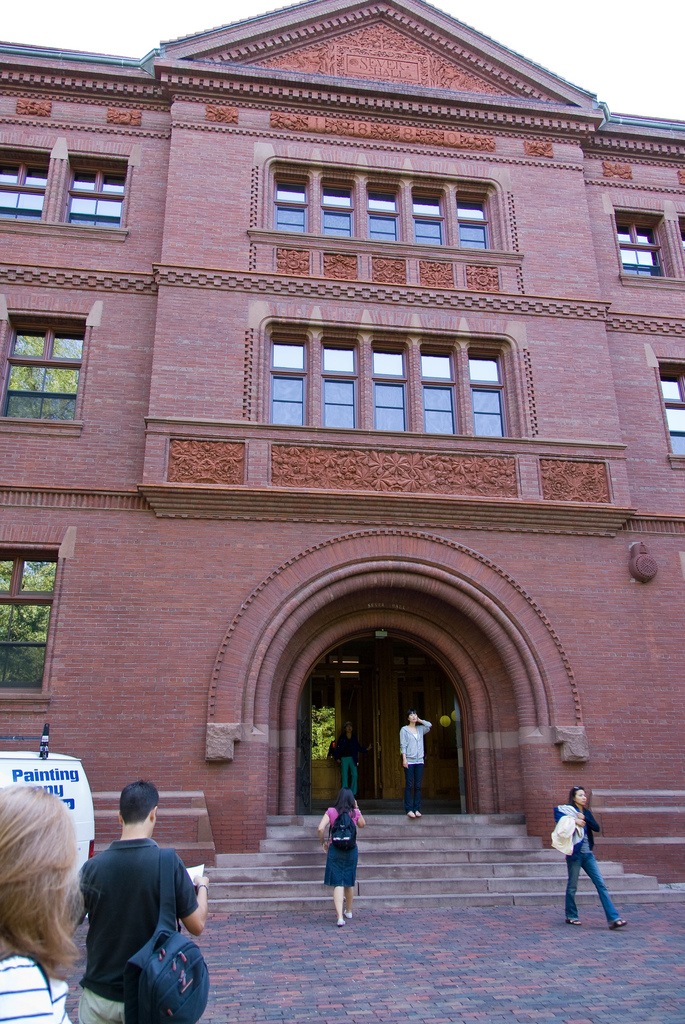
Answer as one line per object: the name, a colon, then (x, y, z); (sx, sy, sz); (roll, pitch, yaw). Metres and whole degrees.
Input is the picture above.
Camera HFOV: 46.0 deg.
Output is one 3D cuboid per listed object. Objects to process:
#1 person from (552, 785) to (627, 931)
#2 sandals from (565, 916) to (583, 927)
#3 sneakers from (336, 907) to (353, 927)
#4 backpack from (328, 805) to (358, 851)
person: (2.815, 3.981, 9.292); (0.672, 1.481, 1.341); (-4, -15, 14)
sandals: (2.555, 4.530, 8.857); (0.068, 0.081, 0.195); (4, -21, -1)
sneakers: (0.032, 4.518, 8.900); (0.143, 0.159, 0.403); (-1, -29, 2)
backpack: (0.018, 3.430, 8.670); (0.339, 0.524, 0.271); (-3, -57, 2)
